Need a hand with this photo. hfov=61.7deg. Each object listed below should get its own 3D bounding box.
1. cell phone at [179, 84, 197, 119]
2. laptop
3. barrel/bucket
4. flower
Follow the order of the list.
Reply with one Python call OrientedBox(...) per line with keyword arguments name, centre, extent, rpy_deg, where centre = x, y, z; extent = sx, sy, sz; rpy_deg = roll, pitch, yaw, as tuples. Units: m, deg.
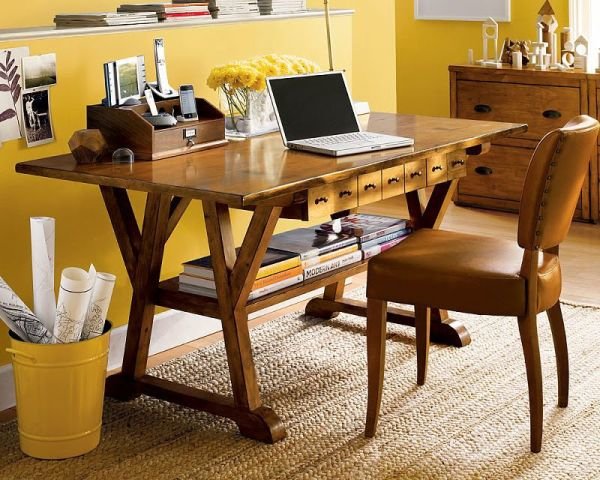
OrientedBox(name="cell phone", centre=(-0.402, -0.499, 1.816), extent=(0.082, 0.124, 0.013), rpy_deg=(7, 19, 35))
OrientedBox(name="laptop", centre=(0.141, -0.443, 1.763), extent=(0.453, 0.206, 0.438), rpy_deg=(17, 29, 24))
OrientedBox(name="barrel/bucket", centre=(-0.724, 0.468, 1.522), extent=(0.299, 0.383, 0.124), rpy_deg=(-3, 14, -2))
OrientedBox(name="flower", centre=(-0.114, -0.651, 2.144), extent=(0.507, 0.286, 0.394), rpy_deg=(-16, 19, -13))
